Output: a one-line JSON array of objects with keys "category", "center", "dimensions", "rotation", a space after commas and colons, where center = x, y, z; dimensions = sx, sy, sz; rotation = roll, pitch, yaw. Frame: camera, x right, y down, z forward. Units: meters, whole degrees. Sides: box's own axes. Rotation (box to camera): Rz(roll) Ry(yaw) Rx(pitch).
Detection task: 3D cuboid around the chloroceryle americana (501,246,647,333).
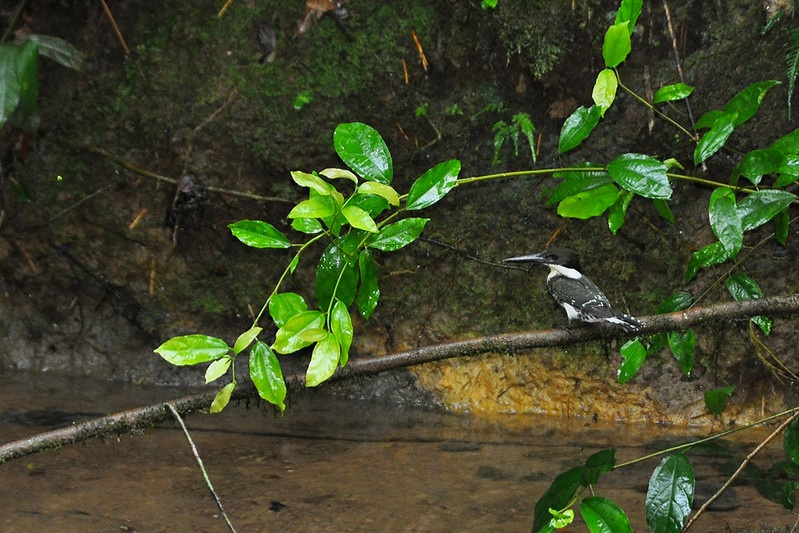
[{"category": "chloroceryle americana", "center": [1.464, 0.199, 7.455], "dimensions": [1.141, 0.682, 0.377], "rotation": [4, 8, 27]}]
